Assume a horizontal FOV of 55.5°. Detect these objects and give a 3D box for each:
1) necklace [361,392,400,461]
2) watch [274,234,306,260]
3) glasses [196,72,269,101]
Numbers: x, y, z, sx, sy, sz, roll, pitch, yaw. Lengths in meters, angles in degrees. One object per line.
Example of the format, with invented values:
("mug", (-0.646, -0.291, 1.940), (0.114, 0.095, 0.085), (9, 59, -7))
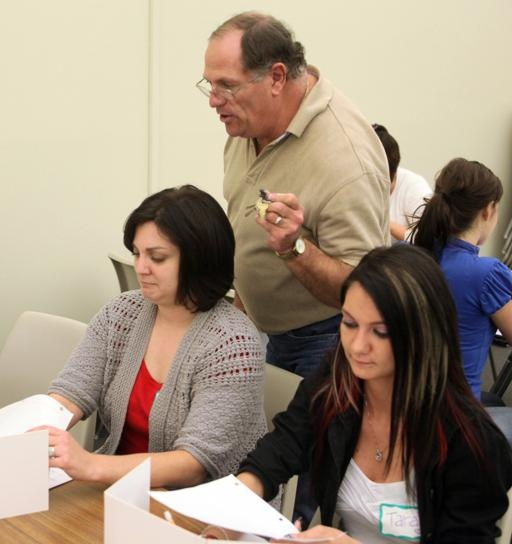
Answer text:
("necklace", (0.260, 0.312, 0.985), (0.037, 0.137, 0.083), (-2, 6, -44))
("watch", (0.102, -0.056, 1.307), (0.078, 0.048, 0.084), (-23, 0, 37))
("glasses", (-0.082, -0.519, 1.372), (0.135, 0.035, 0.138), (-29, 36, -36))
